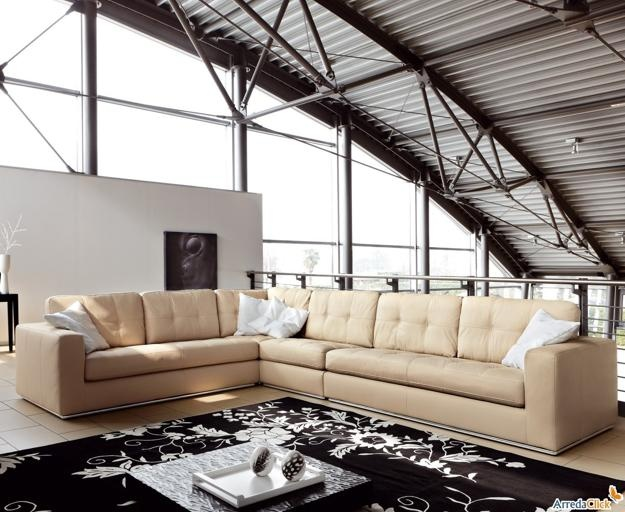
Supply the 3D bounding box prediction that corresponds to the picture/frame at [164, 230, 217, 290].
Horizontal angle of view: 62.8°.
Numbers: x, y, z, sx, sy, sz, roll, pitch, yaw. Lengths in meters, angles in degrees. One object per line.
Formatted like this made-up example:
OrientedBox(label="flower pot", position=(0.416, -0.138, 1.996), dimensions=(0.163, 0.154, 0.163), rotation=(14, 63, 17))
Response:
OrientedBox(label="picture/frame", position=(-1.912, 0.081, 8.148), dimensions=(0.167, 0.924, 0.941), rotation=(3, 3, 43))
